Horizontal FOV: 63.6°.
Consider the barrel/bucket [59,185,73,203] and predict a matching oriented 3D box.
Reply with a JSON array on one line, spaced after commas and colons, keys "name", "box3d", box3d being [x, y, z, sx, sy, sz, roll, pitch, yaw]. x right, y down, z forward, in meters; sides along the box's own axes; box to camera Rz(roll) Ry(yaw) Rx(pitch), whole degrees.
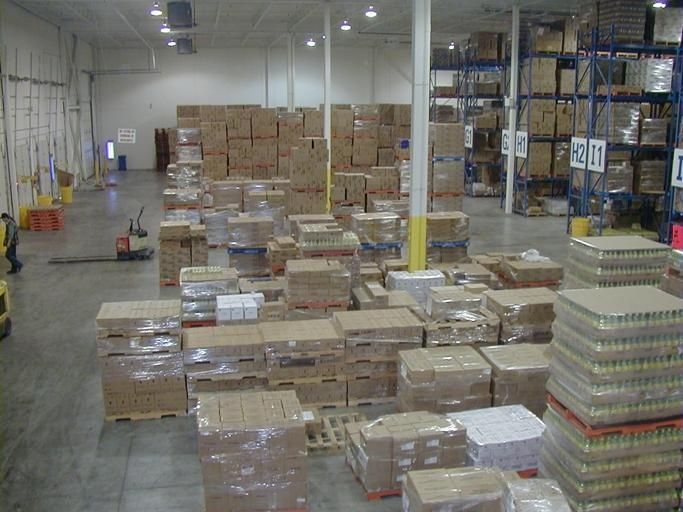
[{"name": "barrel/bucket", "box3d": [-11.461, -2.540, 22.676, 0.640, 0.741, 0.644, 0, 4, 0]}]
